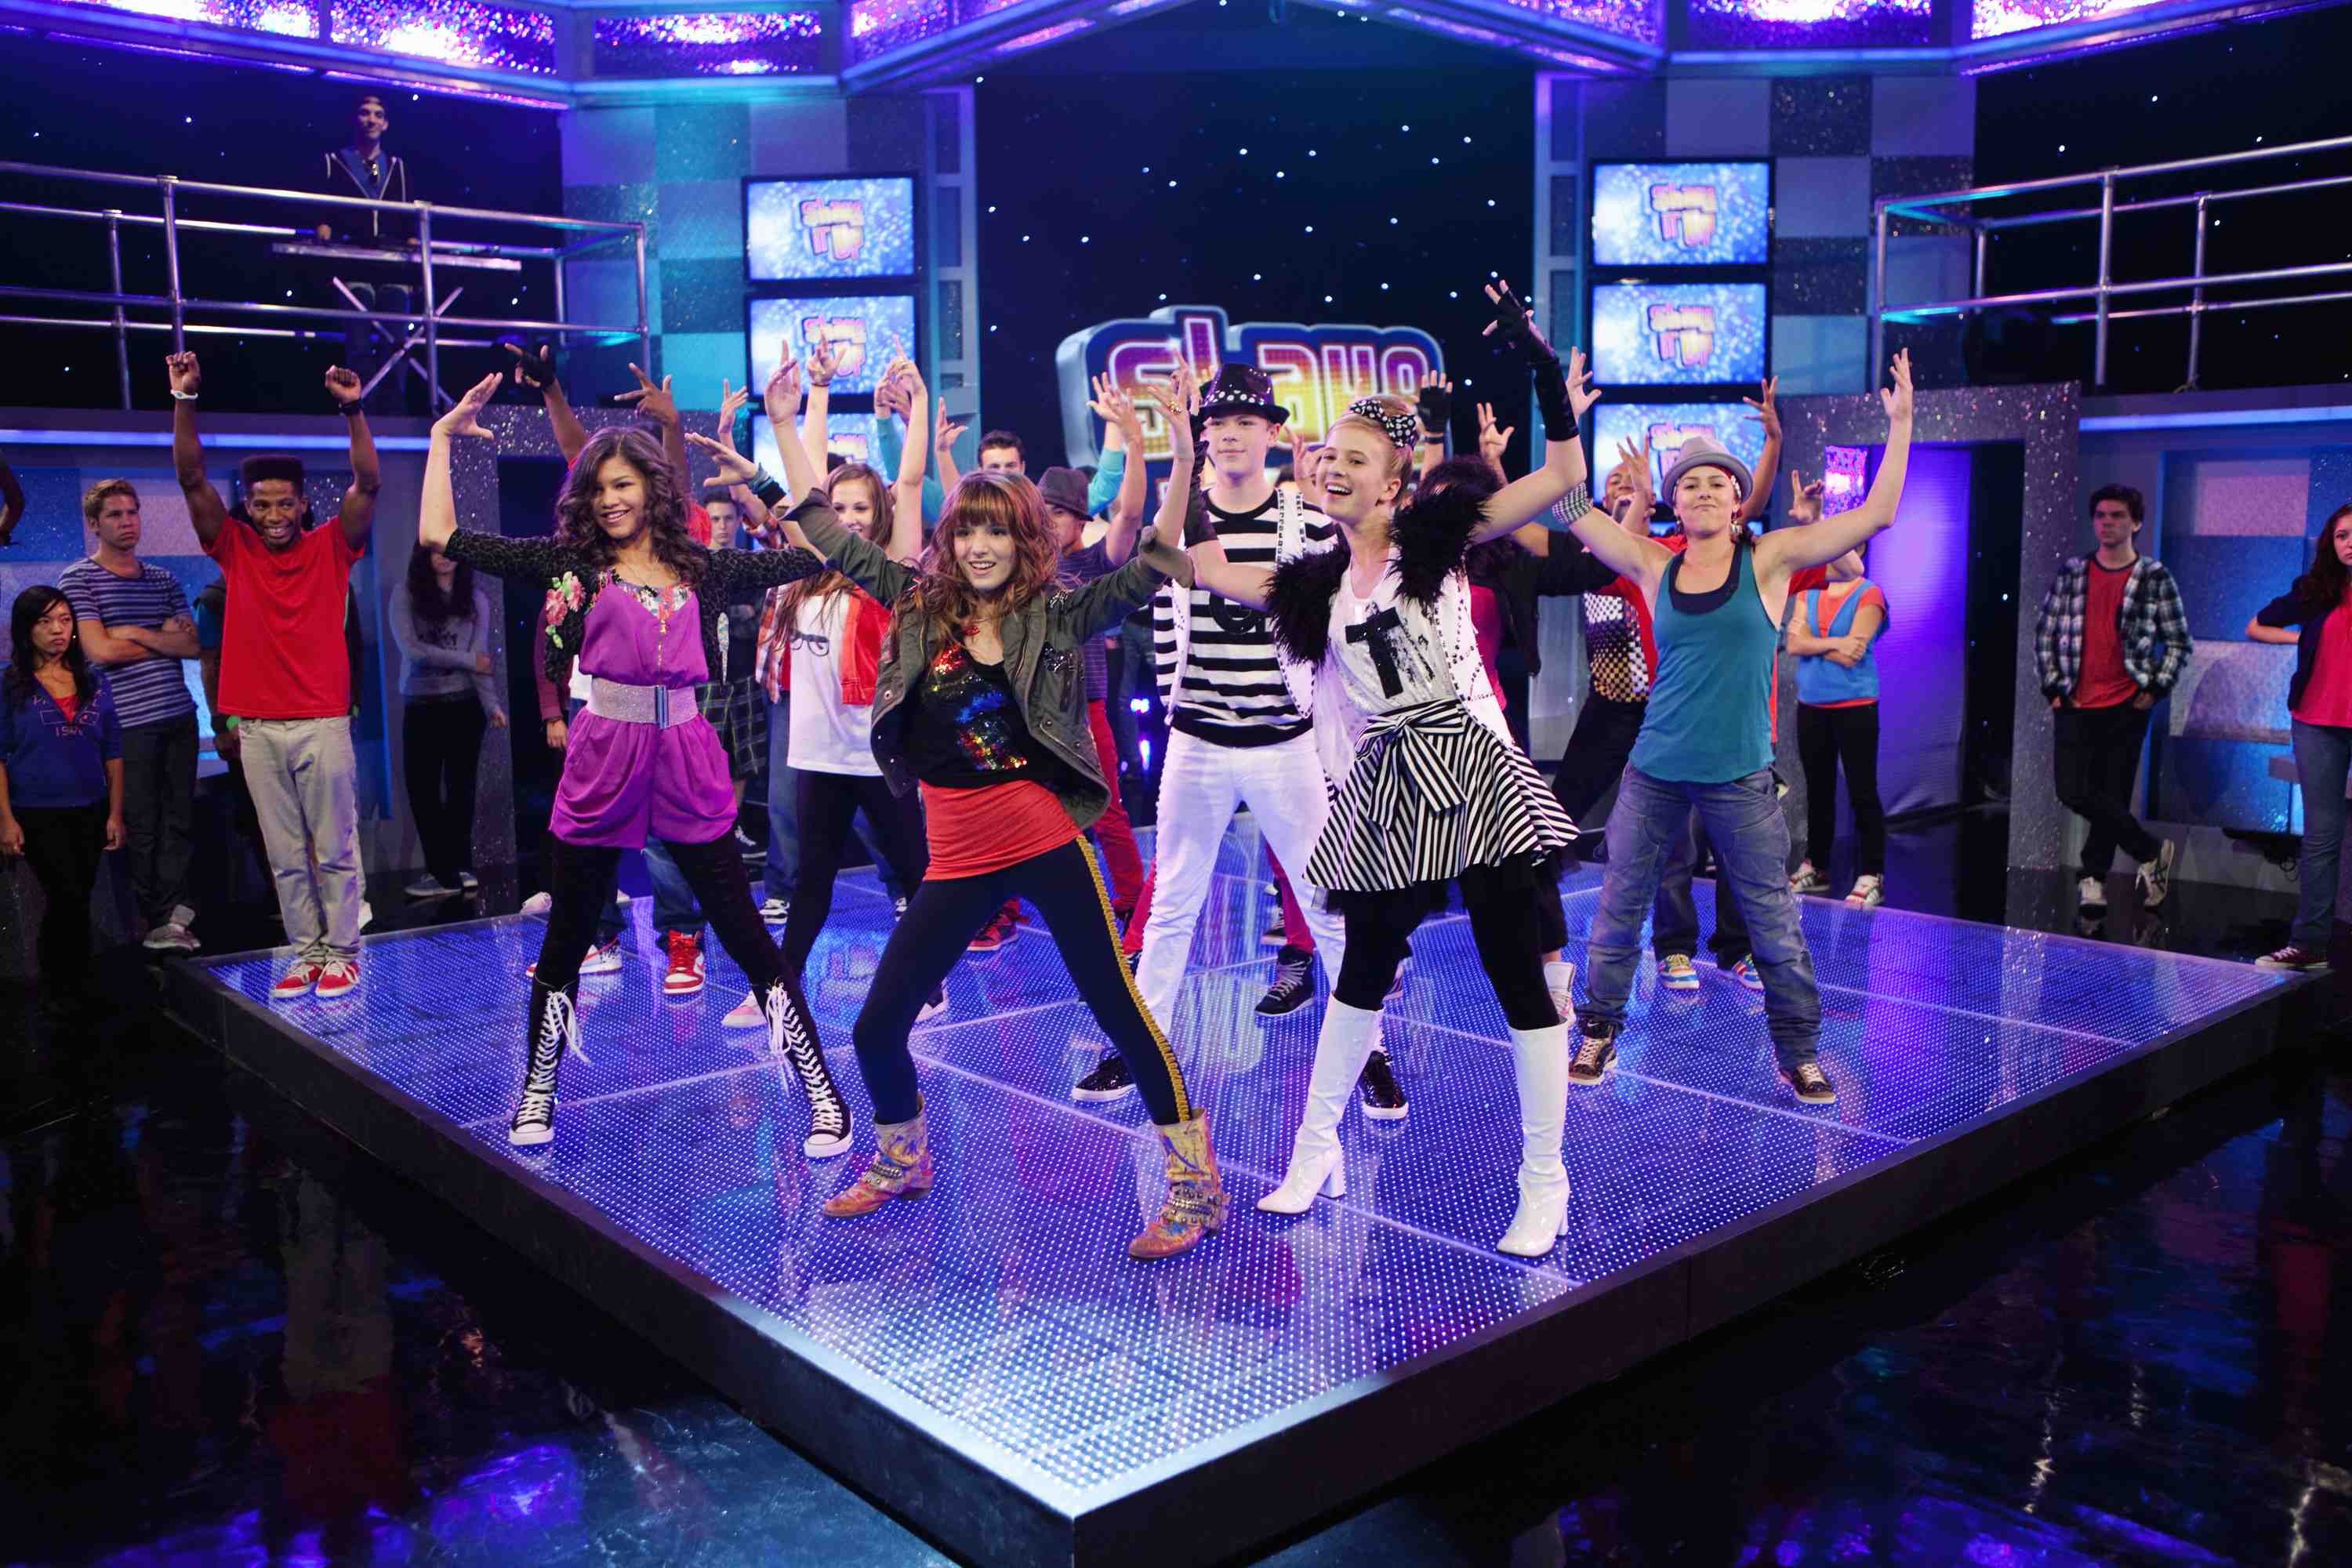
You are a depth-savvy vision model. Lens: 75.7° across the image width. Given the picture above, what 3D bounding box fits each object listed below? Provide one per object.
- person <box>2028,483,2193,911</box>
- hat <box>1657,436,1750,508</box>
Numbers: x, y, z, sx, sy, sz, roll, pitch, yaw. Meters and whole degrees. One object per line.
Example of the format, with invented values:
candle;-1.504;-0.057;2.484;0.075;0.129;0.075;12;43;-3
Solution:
person;4.664;-0.420;7.619;0.698;2.097;0.583;8;16;31
hat;1.775;-1.109;5.156;0.304;0.167;0.412;-2;-20;17
